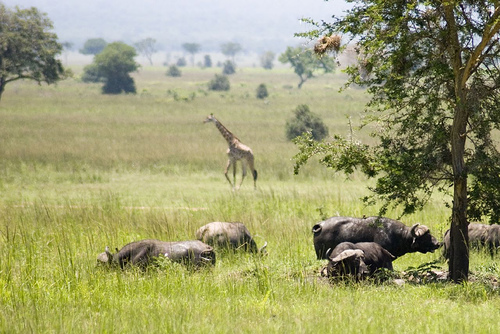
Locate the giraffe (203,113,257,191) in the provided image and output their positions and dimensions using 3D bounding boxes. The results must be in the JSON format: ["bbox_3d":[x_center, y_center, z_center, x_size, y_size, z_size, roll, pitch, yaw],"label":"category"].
[{"bbox_3d":[-0.747,-0.762,40.139,1.880,3.120,3.752,-1,14,-12],"label":"giraffe"}]

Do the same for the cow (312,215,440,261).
[{"bbox_3d":[4.044,2.490,28.543,4.152,2.271,1.113,5,25,13],"label":"cow"}]
